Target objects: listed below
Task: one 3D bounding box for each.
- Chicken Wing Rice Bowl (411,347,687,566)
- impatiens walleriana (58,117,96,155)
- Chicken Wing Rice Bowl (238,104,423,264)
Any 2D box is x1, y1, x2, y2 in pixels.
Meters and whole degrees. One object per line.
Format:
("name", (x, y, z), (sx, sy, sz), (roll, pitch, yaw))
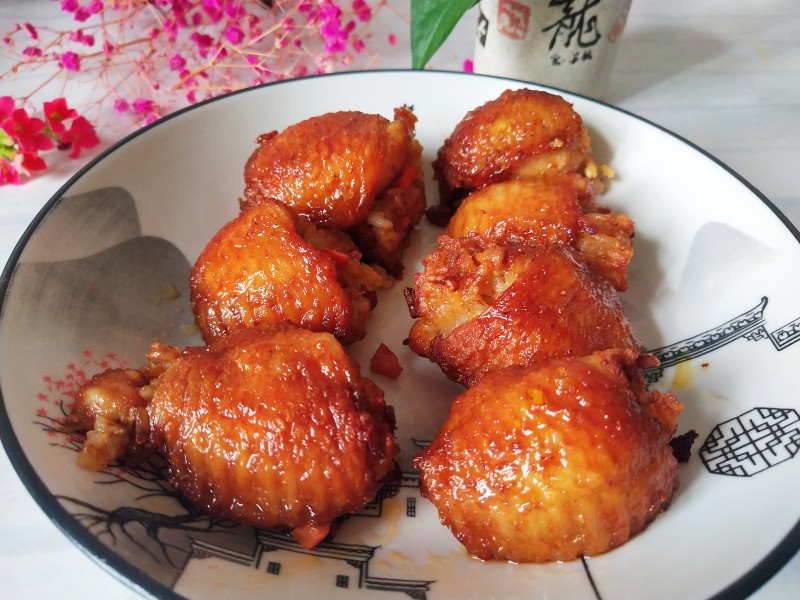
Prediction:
("Chicken Wing Rice Bowl", (0.348, 0.391, 2.024), (0.616, 0.464, 0.190), (-9, -21, 1))
("impatiens walleriana", (-1.112, -0.572, 2.905), (0.124, 0.137, 0.066), (1, 20, -29))
("Chicken Wing Rice Bowl", (-0.221, -0.329, 2.668), (0.558, 0.314, 0.664), (1, -16, -9))
